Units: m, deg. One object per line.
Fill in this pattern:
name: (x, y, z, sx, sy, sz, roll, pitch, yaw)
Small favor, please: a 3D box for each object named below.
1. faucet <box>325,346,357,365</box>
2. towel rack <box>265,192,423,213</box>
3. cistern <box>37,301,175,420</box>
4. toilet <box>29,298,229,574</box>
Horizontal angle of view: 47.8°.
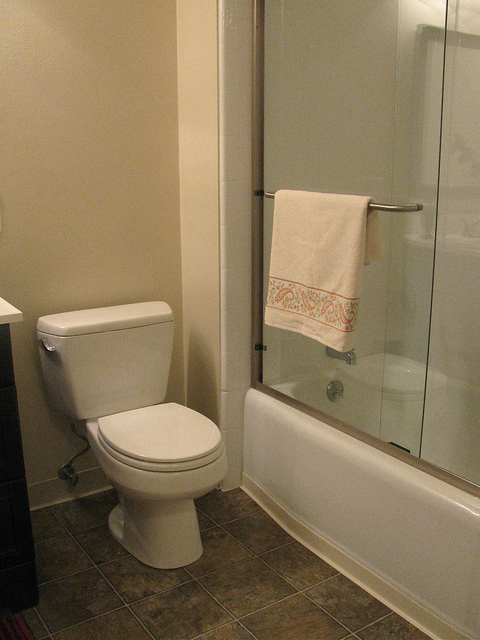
faucet: (0.287, 0.101, 1.525, 0.032, 0.062, 0.099, -13, 22, -35)
towel rack: (0.262, -0.331, 1.514, 0.134, 0.063, 0.524, -7, 13, -30)
cistern: (-0.456, 0.100, 1.785, 0.388, 0.373, 0.329, -7, 21, -33)
toilet: (-0.305, 0.354, 1.660, 0.465, 0.672, 0.610, -8, 15, -34)
